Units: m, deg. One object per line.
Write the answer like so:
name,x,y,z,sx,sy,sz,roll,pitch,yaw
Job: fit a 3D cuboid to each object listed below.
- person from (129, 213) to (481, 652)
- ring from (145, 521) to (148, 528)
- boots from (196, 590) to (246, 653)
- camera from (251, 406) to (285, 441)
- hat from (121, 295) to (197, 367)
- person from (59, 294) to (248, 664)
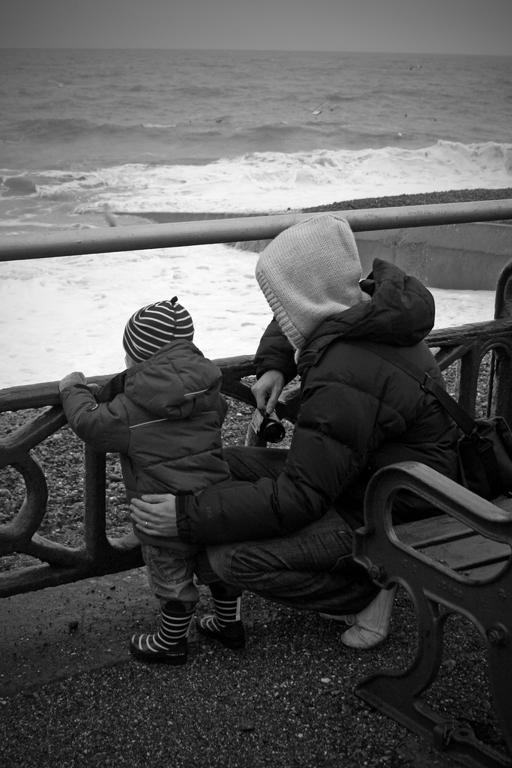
person,0.160,-0.031,1.814,0.928,1.235,0.899,3,25,7
ring,-0.231,0.295,1.327,0.008,0.011,0.003,4,12,26
boots,-0.089,0.559,1.509,0.132,0.127,0.058,-1,8,25
camera,0.030,0.106,1.695,0.101,0.058,0.095,2,3,-5
hat,-0.199,-0.121,1.394,0.150,0.138,0.115,18,10,15
person,-0.219,0.221,1.409,0.404,0.820,0.281,-3,10,-18
